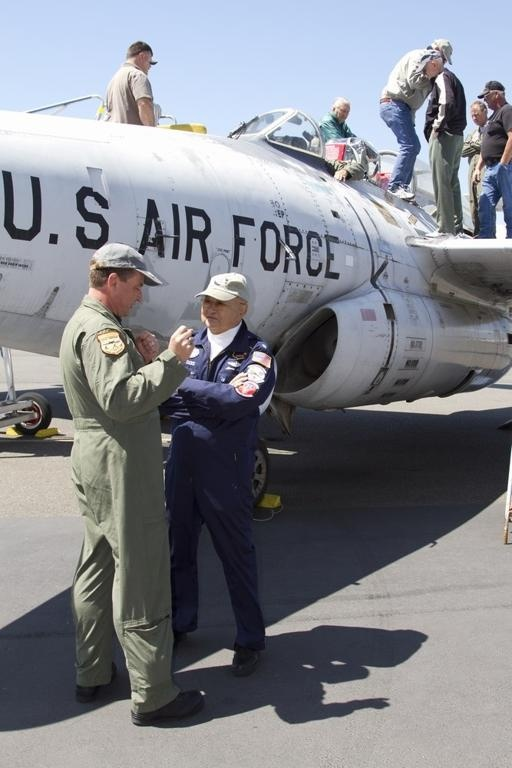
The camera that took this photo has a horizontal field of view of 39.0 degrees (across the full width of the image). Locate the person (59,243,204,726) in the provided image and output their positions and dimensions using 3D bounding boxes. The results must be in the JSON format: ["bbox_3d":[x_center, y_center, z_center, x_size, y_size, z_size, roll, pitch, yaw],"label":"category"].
[{"bbox_3d":[-0.491,0.391,2.880,0.416,1.872,0.484,-4,10,-38],"label":"person"}]

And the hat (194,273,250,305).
[{"bbox_3d":[-0.144,-0.435,3.326,0.151,0.101,0.215,8,10,39],"label":"hat"}]

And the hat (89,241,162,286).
[{"bbox_3d":[-0.522,-0.478,2.883,0.268,0.116,0.166,3,10,-29],"label":"hat"}]
